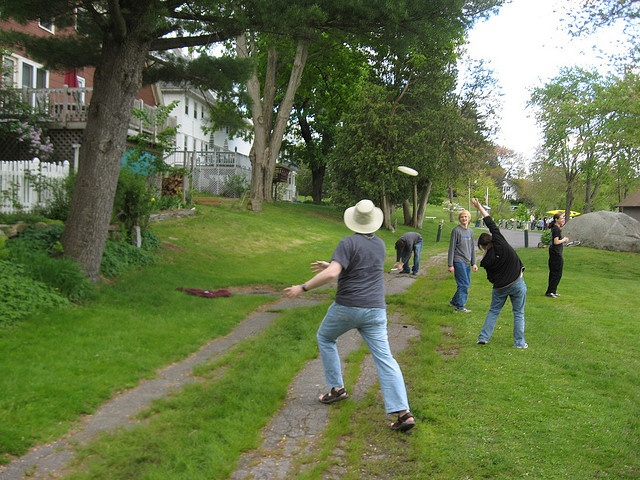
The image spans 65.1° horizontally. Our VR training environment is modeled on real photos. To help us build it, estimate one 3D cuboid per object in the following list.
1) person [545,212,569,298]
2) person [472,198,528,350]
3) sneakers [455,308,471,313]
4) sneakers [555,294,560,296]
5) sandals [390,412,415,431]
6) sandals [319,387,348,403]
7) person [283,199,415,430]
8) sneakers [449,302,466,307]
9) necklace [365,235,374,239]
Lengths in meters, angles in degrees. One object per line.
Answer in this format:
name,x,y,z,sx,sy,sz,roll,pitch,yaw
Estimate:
person,6.293,0.389,13.371,0.443,2.367,1.300,4,12,24
person,3.417,0.588,9.467,1.019,2.655,1.139,3,12,17
sneakers,3.228,1.581,11.378,0.329,0.153,0.123,0,2,5
sneakers,6.376,1.468,13.529,0.101,0.060,0.166,-2,-5,19
sandals,1.094,2.399,6.632,0.171,0.175,0.360,-3,-11,-6
sandals,0.201,2.270,7.400,0.411,0.204,0.196,-3,-2,2
person,0.488,0.982,6.886,1.387,2.972,0.905,1,11,9
sneakers,3.088,1.491,11.661,0.202,0.085,0.064,-11,-4,41
necklace,0.677,-0.052,6.945,0.069,0.019,0.070,-8,23,-21
